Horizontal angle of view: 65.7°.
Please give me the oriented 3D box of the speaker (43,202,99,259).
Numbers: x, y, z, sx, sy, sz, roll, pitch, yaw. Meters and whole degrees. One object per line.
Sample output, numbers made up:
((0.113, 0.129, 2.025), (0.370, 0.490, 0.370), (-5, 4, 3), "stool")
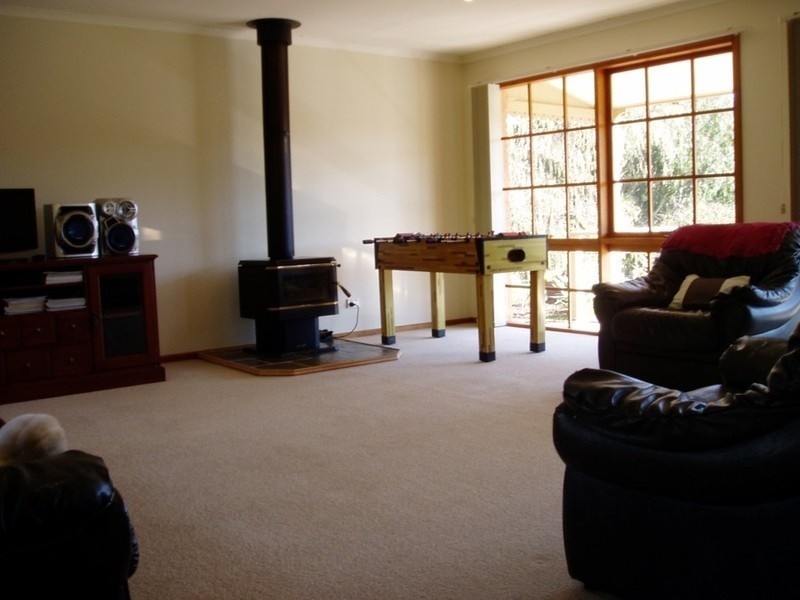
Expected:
((-2.464, -0.503, 4.651), (0.390, 0.543, 0.391), (-2, 1, -43), "speaker")

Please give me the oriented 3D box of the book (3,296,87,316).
((-2.558, 0.030, 4.479), (0.510, 0.107, 0.060), (-7, 9, -33), "book")

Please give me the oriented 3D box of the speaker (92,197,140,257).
((-2.227, -0.577, 4.847), (0.297, 0.441, 0.179), (-1, 7, 4), "speaker")
